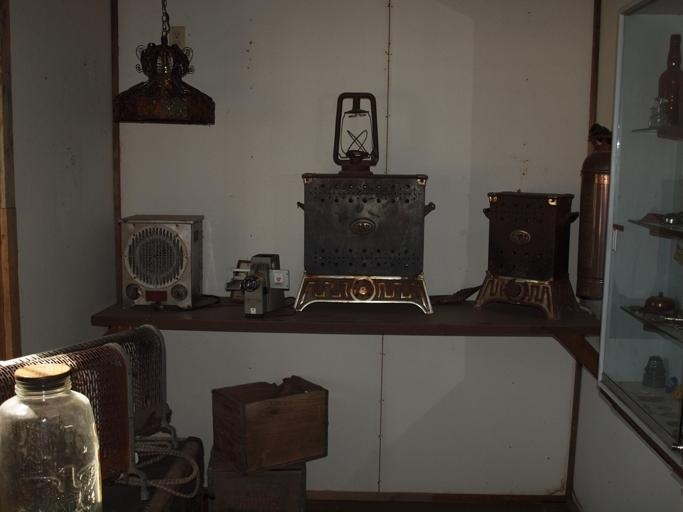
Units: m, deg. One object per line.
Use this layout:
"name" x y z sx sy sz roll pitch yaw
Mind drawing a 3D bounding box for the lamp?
"lamp" -0.700 -0.707 2.516 0.387 0.356 0.156 0 5 -21
